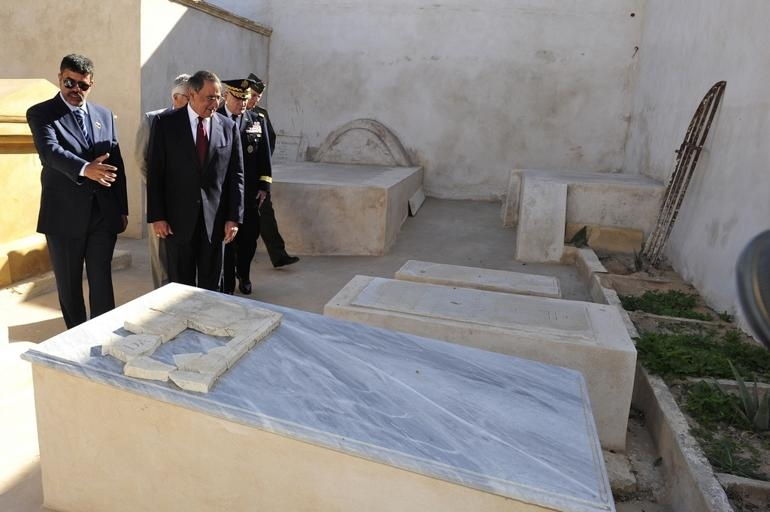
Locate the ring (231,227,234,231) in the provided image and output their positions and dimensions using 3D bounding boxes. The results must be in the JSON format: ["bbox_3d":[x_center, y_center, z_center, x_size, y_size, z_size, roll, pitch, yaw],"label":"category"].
[{"bbox_3d":[-1.025,-0.181,3.371,0.030,0.016,0.021,-3,-5,-7],"label":"ring"}]

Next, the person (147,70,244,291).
[{"bbox_3d":[-1.231,-0.365,3.292,0.596,1.163,0.331,-5,23,-18],"label":"person"}]

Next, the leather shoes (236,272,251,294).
[{"bbox_3d":[-1.222,0.254,4.359,0.082,0.233,0.098,-13,-11,-29],"label":"leather shoes"}]

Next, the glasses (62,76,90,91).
[{"bbox_3d":[-1.798,-0.997,2.926,0.157,0.090,0.085,-11,25,-31],"label":"glasses"}]

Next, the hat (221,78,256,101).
[{"bbox_3d":[-1.094,-1.237,3.741,0.207,0.121,0.220,-10,51,-26],"label":"hat"}]

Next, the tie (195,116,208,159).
[{"bbox_3d":[-1.168,-0.742,3.201,0.074,0.251,0.085,-6,23,-20],"label":"tie"}]

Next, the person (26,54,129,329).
[{"bbox_3d":[-1.872,-0.349,3.088,0.514,1.642,0.519,-9,24,-27],"label":"person"}]

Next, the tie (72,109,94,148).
[{"bbox_3d":[-1.820,-0.761,3.086,0.054,0.254,0.066,-20,19,-3],"label":"tie"}]
